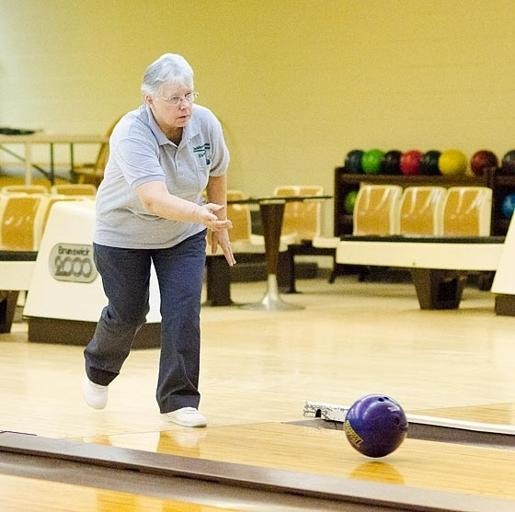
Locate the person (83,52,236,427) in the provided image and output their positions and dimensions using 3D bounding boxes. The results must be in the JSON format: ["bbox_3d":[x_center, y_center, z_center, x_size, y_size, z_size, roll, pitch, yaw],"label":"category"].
[{"bbox_3d":[-0.280,-0.010,1.954,0.484,1.231,0.785,2,5,-17],"label":"person"}]

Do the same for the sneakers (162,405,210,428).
[{"bbox_3d":[-0.242,0.528,2.059,0.170,0.066,0.062,-6,-5,40],"label":"sneakers"}]
